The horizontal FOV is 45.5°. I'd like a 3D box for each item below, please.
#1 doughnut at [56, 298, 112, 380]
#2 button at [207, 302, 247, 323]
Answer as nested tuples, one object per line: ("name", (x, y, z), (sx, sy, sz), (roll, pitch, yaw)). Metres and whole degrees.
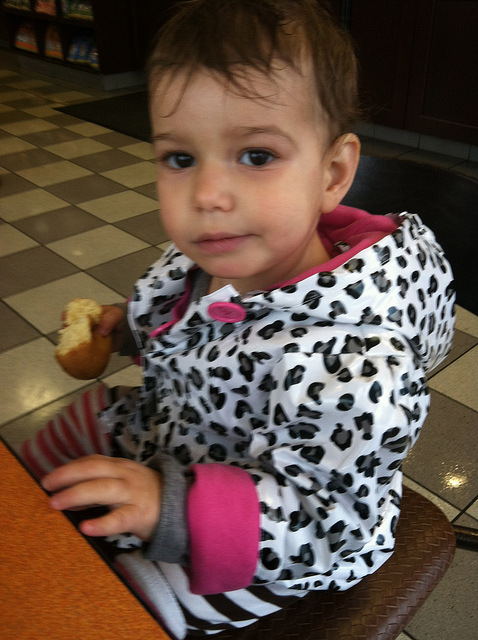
("doughnut", (-0.235, 0.025, 0.891), (0.092, 0.048, 0.127), (7, 52, -12))
("button", (-0.012, -0.010, 0.644), (0.030, 0.025, 0.004), (10, 53, 15))
